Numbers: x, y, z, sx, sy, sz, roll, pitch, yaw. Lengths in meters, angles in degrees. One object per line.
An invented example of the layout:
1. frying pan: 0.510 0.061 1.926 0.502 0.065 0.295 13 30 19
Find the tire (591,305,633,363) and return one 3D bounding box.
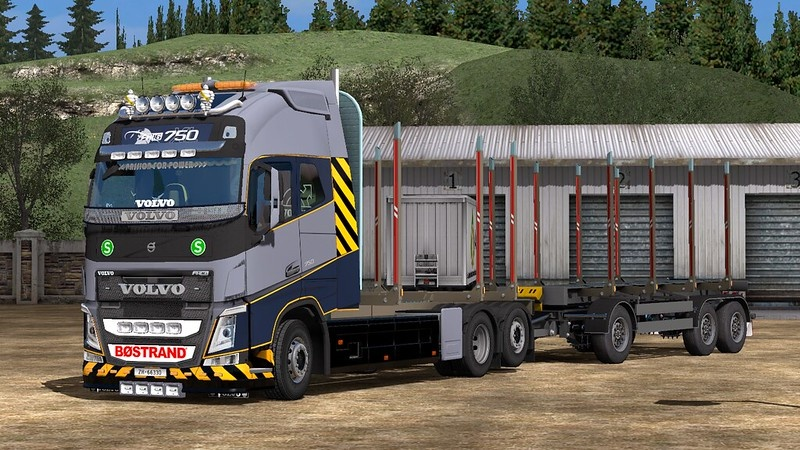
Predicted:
1. tire: 7.830 3.978 47.922 0.771 2.211 2.410 -1 -2 35

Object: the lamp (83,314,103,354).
1. lamp: -10.040 3.462 42.281 0.864 1.059 0.306 4 1 5

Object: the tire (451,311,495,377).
1. tire: 2.471 4.082 45.326 0.838 2.447 2.393 -2 -5 36

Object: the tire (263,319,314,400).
1. tire: -3.721 4.308 42.396 1.288 2.767 2.594 -1 -7 29

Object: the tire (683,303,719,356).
1. tire: 11.459 3.899 49.557 2.020 2.041 0.666 -7 3 -40

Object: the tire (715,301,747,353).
1. tire: 12.760 3.896 50.174 0.678 1.970 2.147 -1 -2 39

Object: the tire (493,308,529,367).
1. tire: 3.875 3.893 46.037 0.831 2.200 2.173 -1 -4 32

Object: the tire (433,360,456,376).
1. tire: 1.581 4.943 45.521 0.286 0.659 0.706 -3 2 22

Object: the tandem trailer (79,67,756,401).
1. tandem trailer: 3.055 0.911 50.152 29.822 9.655 8.896 2 -3 -41
